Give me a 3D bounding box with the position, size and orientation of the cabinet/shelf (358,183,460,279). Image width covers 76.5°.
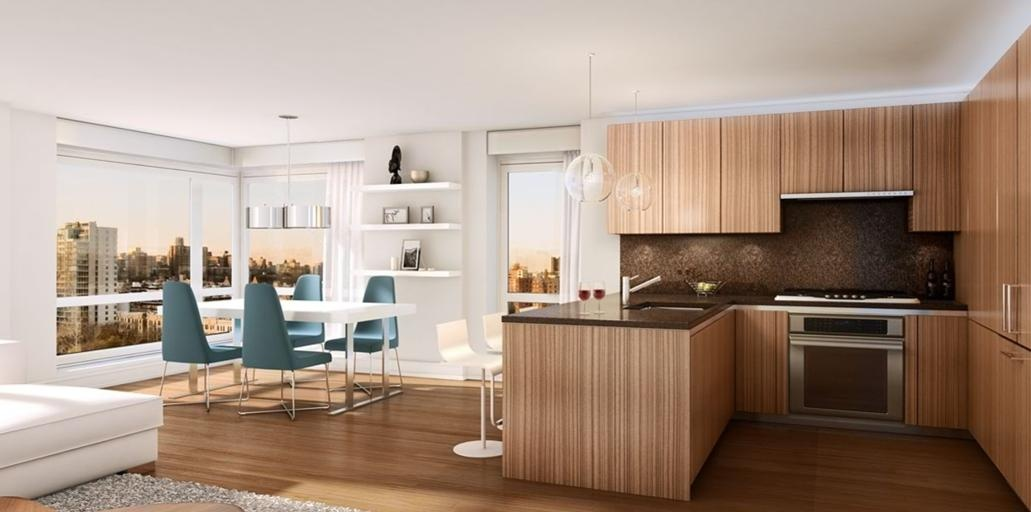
[{"bbox_3d":[-1.636,-0.409,10.548,1.917,1.289,0.577,0,-2,16],"label":"cabinet/shelf"}]

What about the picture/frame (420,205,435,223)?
[{"bbox_3d":[-1.399,-0.668,10.502,0.336,0.321,0.048,2,1,17],"label":"picture/frame"}]

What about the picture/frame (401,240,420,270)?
[{"bbox_3d":[-1.674,-0.026,10.538,0.315,0.426,0.287,-1,13,-3],"label":"picture/frame"}]

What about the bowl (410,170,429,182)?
[{"bbox_3d":[-1.536,-1.263,10.454,0.243,0.124,0.220,-1,0,-21],"label":"bowl"}]

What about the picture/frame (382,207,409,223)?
[{"bbox_3d":[-1.912,-0.660,10.591,0.324,0.183,0.031,1,-1,11],"label":"picture/frame"}]

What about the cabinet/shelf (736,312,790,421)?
[{"bbox_3d":[3.215,1.365,8.572,0.583,1.314,0.387,0,14,4],"label":"cabinet/shelf"}]
